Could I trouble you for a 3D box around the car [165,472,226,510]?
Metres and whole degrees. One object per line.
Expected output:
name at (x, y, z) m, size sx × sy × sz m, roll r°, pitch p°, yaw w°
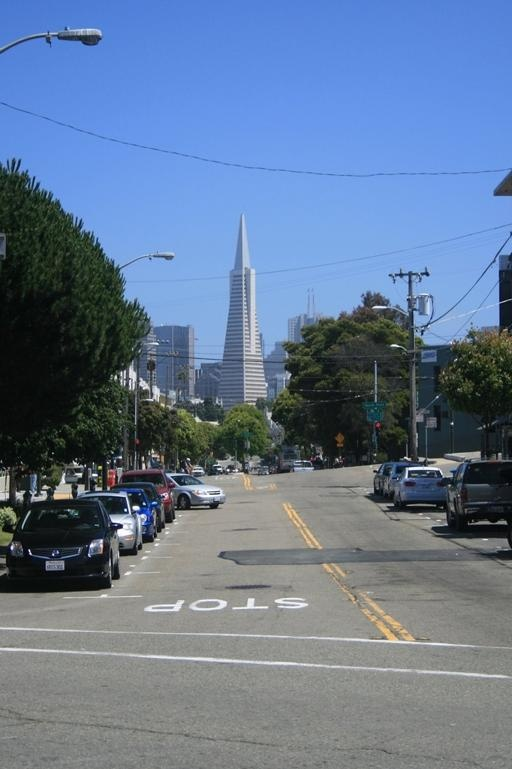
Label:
car at (-2.219, 3.765, 38.219) m, size 0.925 × 0.957 × 2.330 m, roll 2°, pitch -8°, yaw -39°
